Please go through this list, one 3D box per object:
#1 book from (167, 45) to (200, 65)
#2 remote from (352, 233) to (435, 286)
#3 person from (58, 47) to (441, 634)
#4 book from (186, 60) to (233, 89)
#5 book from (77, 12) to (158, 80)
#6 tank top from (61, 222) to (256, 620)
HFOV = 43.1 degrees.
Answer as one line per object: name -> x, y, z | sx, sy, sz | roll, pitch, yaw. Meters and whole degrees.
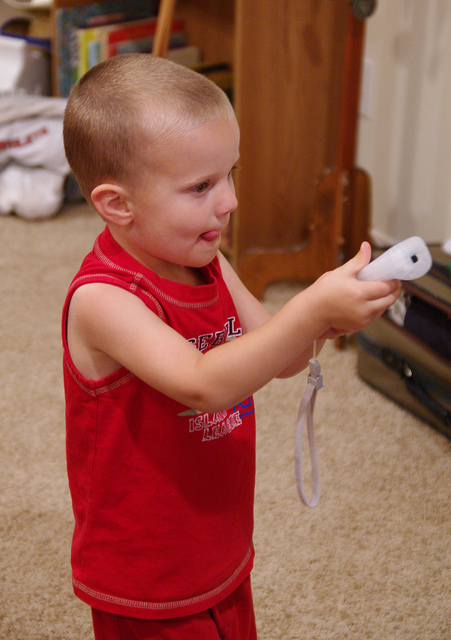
book -> -0.161, -1.022, 2.194 | 0.095, 0.071, 0.204 | 6, 25, 8
remote -> 0.107, -0.034, 0.359 | 0.062, 0.024, 0.016 | -24, 6, -15
person -> -0.029, 0.141, 0.576 | 0.260, 0.738, 0.351 | -5, 26, -17
book -> -0.053, -0.859, 1.986 | 0.152, 0.080, 0.413 | 2, 24, -1
book -> -0.449, -1.113, 2.357 | 0.389, 0.358, 0.042 | 0, 65, -1
tank top -> -0.050, 0.100, 0.493 | 0.177, 0.350, 0.128 | -5, 26, -17
